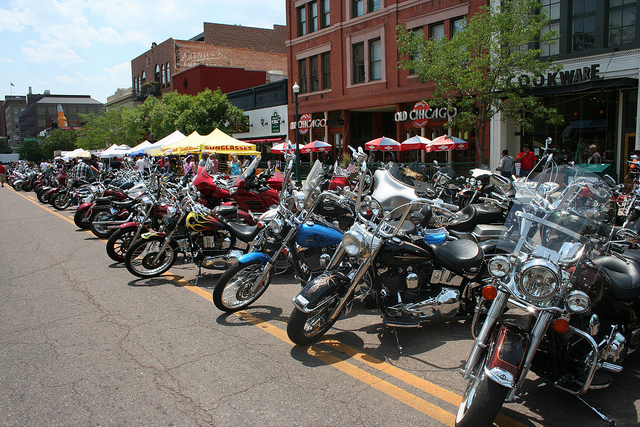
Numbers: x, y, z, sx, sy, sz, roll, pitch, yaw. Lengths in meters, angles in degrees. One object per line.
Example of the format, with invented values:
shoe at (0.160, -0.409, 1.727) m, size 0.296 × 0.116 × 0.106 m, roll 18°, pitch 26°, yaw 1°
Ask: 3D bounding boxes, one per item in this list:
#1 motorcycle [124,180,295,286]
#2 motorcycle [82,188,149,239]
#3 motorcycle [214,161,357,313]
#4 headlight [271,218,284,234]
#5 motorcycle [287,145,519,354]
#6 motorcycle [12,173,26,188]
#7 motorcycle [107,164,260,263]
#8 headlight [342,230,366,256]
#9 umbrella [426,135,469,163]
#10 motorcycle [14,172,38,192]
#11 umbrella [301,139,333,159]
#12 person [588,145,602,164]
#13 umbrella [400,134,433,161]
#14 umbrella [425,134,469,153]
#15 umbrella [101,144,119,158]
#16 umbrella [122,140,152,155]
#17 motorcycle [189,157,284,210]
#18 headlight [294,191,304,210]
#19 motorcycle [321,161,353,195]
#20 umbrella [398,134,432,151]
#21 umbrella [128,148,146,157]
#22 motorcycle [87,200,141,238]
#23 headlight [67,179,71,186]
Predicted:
motorcycle at (-1.843, 0.339, 8.324) m, size 2.937 × 1.561 × 1.468 m, roll -1°, pitch 0°, yaw -16°
motorcycle at (-5.360, 0.145, 12.070) m, size 2.095 × 1.307 × 1.394 m, roll -6°, pitch 9°, yaw -26°
motorcycle at (-0.720, 0.211, 7.138) m, size 2.798 × 1.752 × 1.480 m, roll -13°, pitch 45°, yaw -35°
headlight at (-0.597, 0.172, 6.619) m, size 0.160 × 0.108 × 0.197 m, roll 20°, pitch 23°, yaw -8°
motorcycle at (0.956, 0.397, 6.396) m, size 3.154 × 1.975 × 1.945 m, roll -5°, pitch 20°, yaw -13°
motorcycle at (-20.858, -2.277, 32.751) m, size 1.485 × 0.947 × 0.934 m, roll 6°, pitch 10°, yaw 29°
motorcycle at (-2.958, 0.324, 9.258) m, size 3.113 × 1.883 × 1.864 m, roll 1°, pitch 16°, yaw -18°
headlight at (0.397, 0.350, 5.565) m, size 0.287 × 0.284 × 0.252 m, roll 1°, pitch -9°, yaw -38°
umbrella at (5.757, -3.019, 21.433) m, size 1.316 × 0.965 × 1.397 m, roll 3°, pitch 8°, yaw 16°
motorcycle at (-19.126, -1.998, 30.670) m, size 1.268 × 1.193 × 1.884 m, roll 1°, pitch 7°, yaw -43°
umbrella at (-0.338, -3.653, 26.071) m, size 1.229 × 0.899 × 1.192 m, roll -2°, pitch 5°, yaw 11°
person at (10.363, -2.204, 17.638) m, size 0.333 × 0.661 × 1.042 m, roll 6°, pitch 15°, yaw 25°
umbrella at (4.636, -3.133, 22.146) m, size 1.292 × 0.985 × 1.267 m, roll -14°, pitch 10°, yaw -31°
umbrella at (5.592, -3.122, 21.292) m, size 1.322 × 0.471 × 1.319 m, roll 1°, pitch 12°, yaw 27°
umbrella at (-14.399, -4.209, 31.865) m, size 1.308 × 0.682 × 1.309 m, roll 6°, pitch 8°, yaw 33°
umbrella at (-11.254, -4.080, 29.129) m, size 1.485 × 0.665 × 1.467 m, roll -11°, pitch 7°, yaw -24°
motorcycle at (-1.747, -0.592, 9.859) m, size 1.958 × 1.179 × 1.107 m, roll -1°, pitch 9°, yaw -23°
headlight at (-0.281, -0.215, 6.459) m, size 0.119 × 0.150 × 0.167 m, roll 0°, pitch 11°, yaw -1°
motorcycle at (0.454, -0.643, 8.478) m, size 0.826 × 0.474 × 0.498 m, roll 3°, pitch 6°, yaw -12°
umbrella at (4.576, -3.262, 21.857) m, size 1.120 × 0.506 × 1.095 m, roll -1°, pitch 3°, yaw -21°
umbrella at (-11.740, -3.858, 30.065) m, size 1.497 × 0.574 × 1.009 m, roll 1°, pitch 5°, yaw 13°
motorcycle at (-5.242, 0.239, 11.928) m, size 1.822 × 1.009 × 1.126 m, roll -1°, pitch 3°, yaw -19°
headlight at (-10.264, -1.286, 19.225) m, size 0.154 × 0.215 × 0.069 m, roll 4°, pitch -3°, yaw 34°
